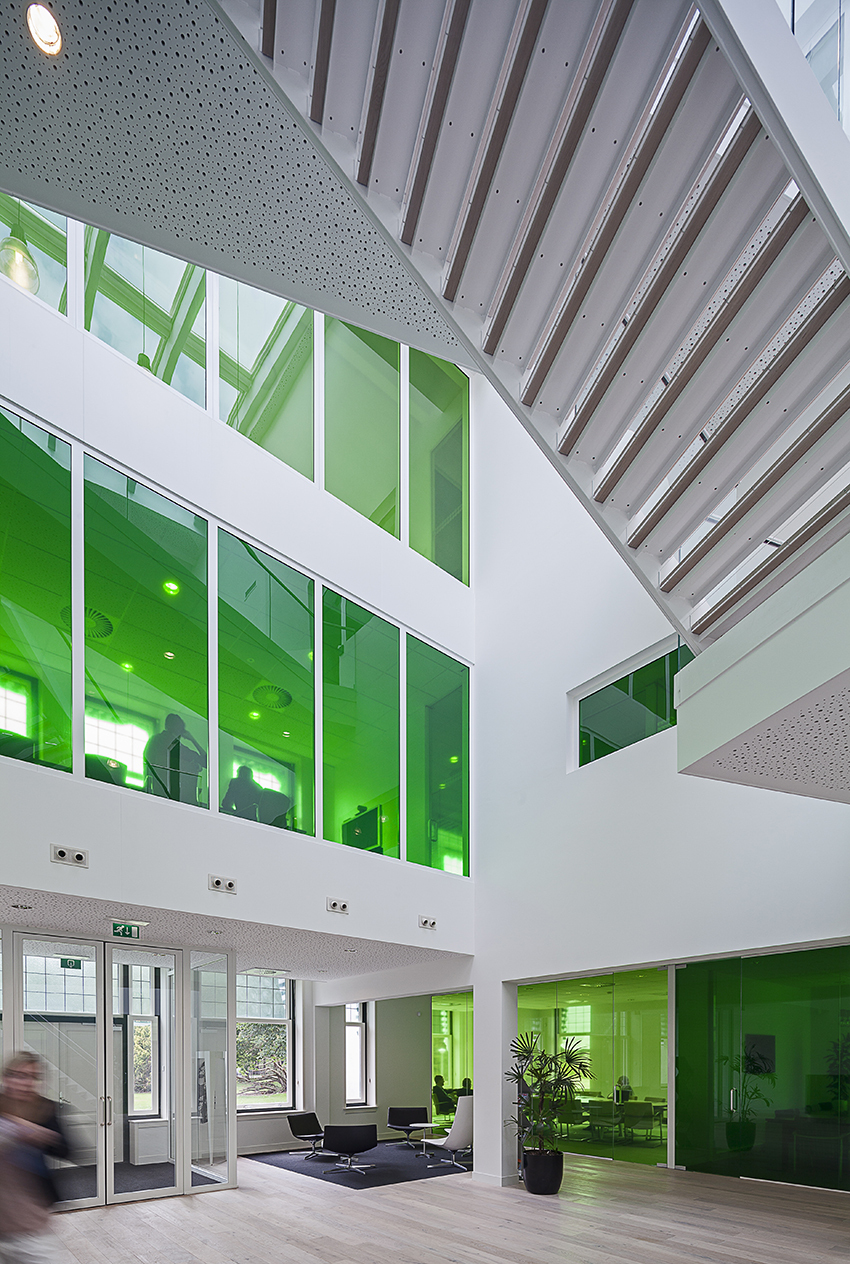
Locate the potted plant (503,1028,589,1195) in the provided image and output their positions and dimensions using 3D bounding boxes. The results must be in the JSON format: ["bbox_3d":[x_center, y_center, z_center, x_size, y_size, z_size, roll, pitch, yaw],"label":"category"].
[{"bbox_3d":[1.191,4.910,10.260,0.708,1.449,0.784,-7,-25,24],"label":"potted plant"}]

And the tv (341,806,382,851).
[{"bbox_3d":[-0.630,2.026,10.451,0.101,0.448,0.439,-2,0,36],"label":"tv"}]
